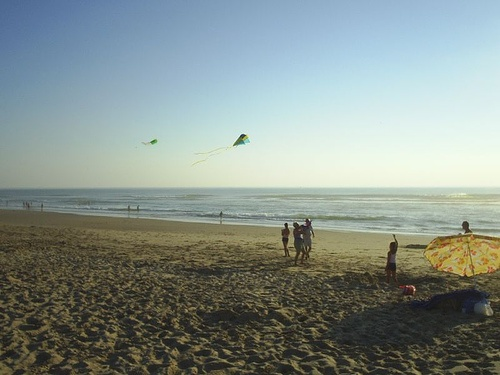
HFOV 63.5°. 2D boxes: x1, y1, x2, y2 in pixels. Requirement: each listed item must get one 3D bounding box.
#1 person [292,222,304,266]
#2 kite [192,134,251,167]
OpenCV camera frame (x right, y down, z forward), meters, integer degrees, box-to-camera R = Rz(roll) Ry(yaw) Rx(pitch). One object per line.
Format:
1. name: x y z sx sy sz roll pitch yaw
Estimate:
1. person: 1.720 1.879 14.265 0.338 1.394 1.328 0 0 8
2. kite: -0.982 -0.928 10.804 2.034 0.383 0.297 -28 32 -12
